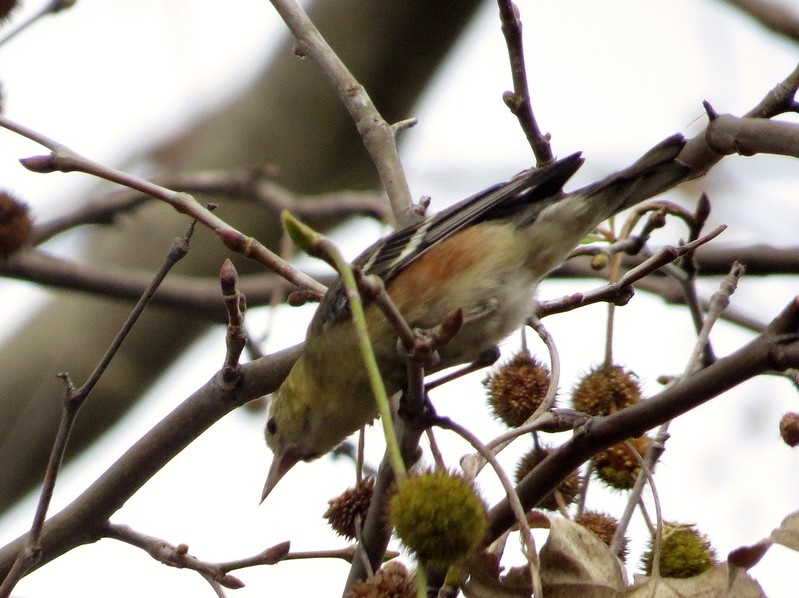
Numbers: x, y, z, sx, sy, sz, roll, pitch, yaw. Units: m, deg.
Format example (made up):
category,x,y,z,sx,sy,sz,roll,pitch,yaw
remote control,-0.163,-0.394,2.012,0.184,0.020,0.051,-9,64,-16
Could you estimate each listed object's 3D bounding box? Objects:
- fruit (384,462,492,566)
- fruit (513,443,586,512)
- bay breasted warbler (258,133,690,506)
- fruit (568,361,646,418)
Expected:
category,x,y,z,sx,sy,sz,roll,pitch,yaw
fruit,0.131,0.768,4.138,0.344,0.241,0.286,3,-76,-6
fruit,0.687,0.879,5.535,0.291,0.306,0.168,-19,-111,26
bay breasted warbler,0.318,0.127,5.274,2.082,0.557,0.642,-45,-106,1
fruit,0.940,0.437,5.288,0.275,0.305,0.178,-19,-74,-3
